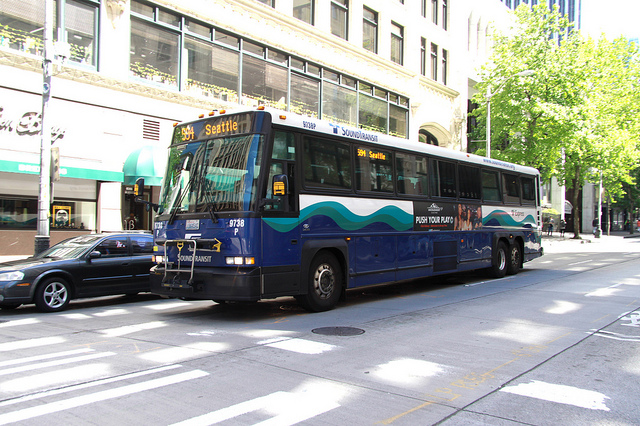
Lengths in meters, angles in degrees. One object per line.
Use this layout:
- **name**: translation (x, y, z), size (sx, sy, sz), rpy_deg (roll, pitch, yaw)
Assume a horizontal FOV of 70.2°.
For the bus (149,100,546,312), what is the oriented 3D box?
- **bus**: translation (2.797, 0.258, 15.731), size (16.275, 4.897, 3.055), rpy_deg (3, -5, -43)
